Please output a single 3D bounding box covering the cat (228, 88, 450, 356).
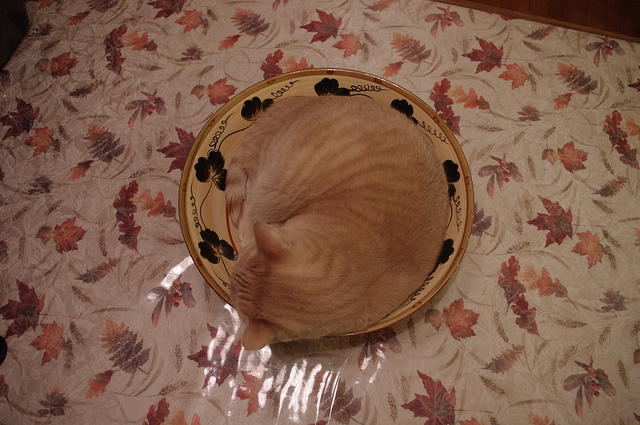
[{"bbox_3d":[0.072,-0.017,2.249,0.848,0.271,0.984,-2,83,-1],"label":"cat"}]
